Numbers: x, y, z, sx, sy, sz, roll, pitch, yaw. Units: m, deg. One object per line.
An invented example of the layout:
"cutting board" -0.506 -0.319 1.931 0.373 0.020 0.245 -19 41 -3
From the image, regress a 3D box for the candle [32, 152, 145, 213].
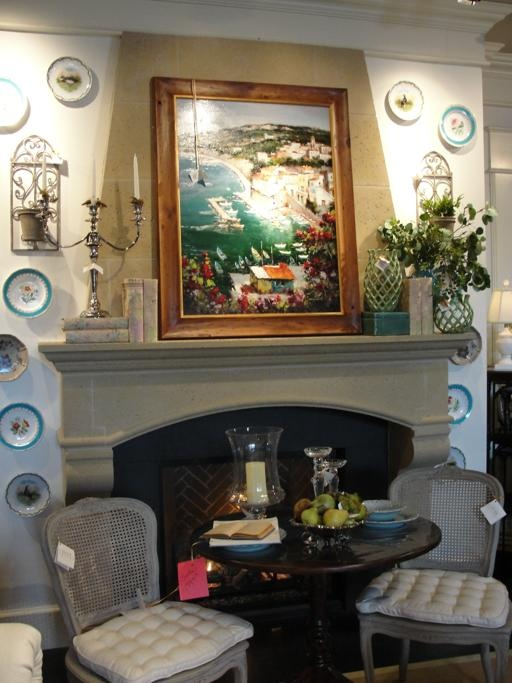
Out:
"candle" -0.687 -0.664 2.620 0.411 0.255 0.305 -3 3 -10

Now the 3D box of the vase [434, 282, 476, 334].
"vase" 0.926 -0.155 3.032 0.182 0.232 0.131 -5 3 -30

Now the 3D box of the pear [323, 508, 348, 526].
"pear" 0.249 0.546 1.989 0.065 0.044 0.046 -8 -8 -13

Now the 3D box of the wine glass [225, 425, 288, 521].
"wine glass" -0.002 0.476 2.278 0.231 0.311 0.219 -2 -4 -23

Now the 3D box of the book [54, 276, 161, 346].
"book" -0.579 -0.115 2.543 0.366 0.256 0.113 -3 3 -8

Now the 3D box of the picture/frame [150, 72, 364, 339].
"picture/frame" -0.033 -0.583 2.871 1.382 1.436 0.109 0 -6 -21

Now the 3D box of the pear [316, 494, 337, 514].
"pear" 0.229 0.518 2.044 0.046 0.026 0.054 -1 38 3

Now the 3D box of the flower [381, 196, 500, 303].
"flower" 0.841 -0.473 3.232 0.648 0.618 0.567 3 -11 7

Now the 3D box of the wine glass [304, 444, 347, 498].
"wine glass" 0.246 0.482 2.280 0.125 0.205 0.312 -3 3 -2

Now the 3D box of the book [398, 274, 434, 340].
"book" 0.738 -0.149 2.928 0.119 0.253 0.311 -1 2 1

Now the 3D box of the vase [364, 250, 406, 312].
"vase" 0.592 -0.291 2.979 0.174 0.251 0.178 16 34 29

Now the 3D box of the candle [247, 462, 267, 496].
"candle" 0.002 0.469 2.164 0.068 0.118 0.039 -3 3 -5

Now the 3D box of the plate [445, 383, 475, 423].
"plate" 1.085 0.332 3.359 0.140 0.217 0.041 -4 3 -24

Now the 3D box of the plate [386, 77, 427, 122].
"plate" 0.753 -1.200 3.195 0.210 0.195 0.048 -20 13 -19

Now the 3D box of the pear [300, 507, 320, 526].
"pear" 0.175 0.561 2.027 0.055 0.051 0.067 -4 3 -18

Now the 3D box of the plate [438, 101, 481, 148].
"plate" 1.048 -1.103 3.290 0.226 0.206 0.035 -1 -1 -19

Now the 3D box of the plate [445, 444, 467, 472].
"plate" 1.048 0.607 3.335 0.054 0.130 0.149 -1 3 37
